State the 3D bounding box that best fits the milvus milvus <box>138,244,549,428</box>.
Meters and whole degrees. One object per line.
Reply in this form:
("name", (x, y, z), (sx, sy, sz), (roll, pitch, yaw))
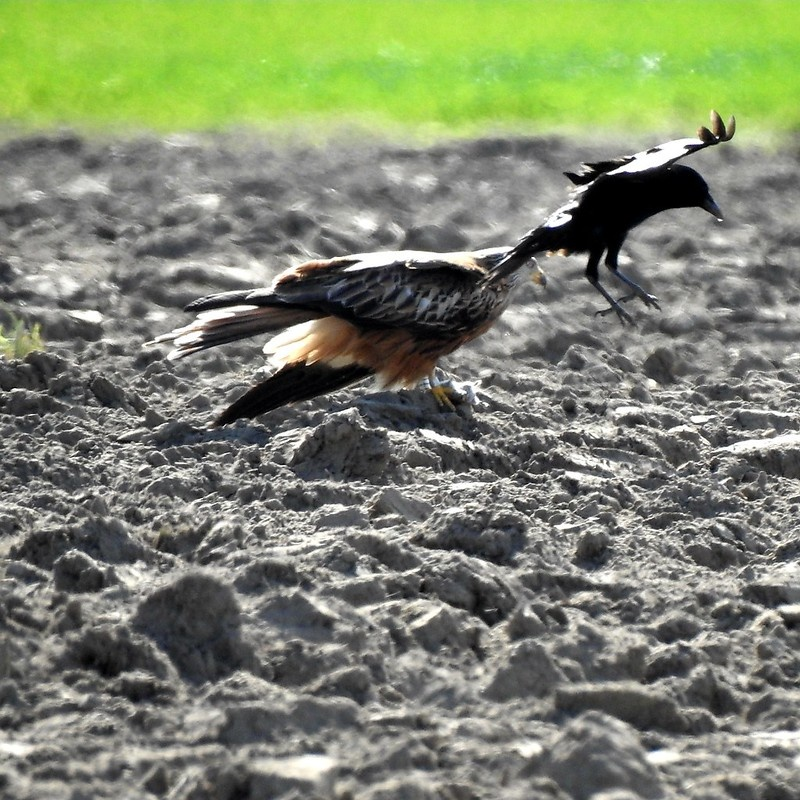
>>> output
("milvus milvus", (-0.217, -0.304, 5.626), (1.646, 0.728, 0.433), (-5, 13, -26))
